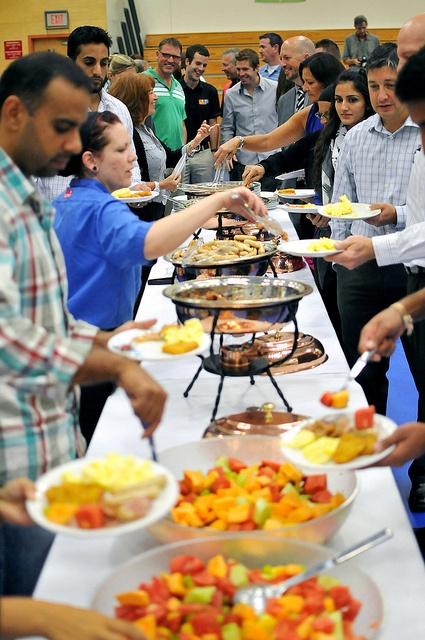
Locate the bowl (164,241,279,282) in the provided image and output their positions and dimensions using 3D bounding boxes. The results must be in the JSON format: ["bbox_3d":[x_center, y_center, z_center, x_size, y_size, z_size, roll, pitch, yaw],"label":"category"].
[{"bbox_3d":[0.056,-0.203,1.846,0.371,0.127,0.366,-6,16,2],"label":"bowl"}]

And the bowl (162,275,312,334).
[{"bbox_3d":[0.066,-0.012,1.325,0.384,0.090,0.397,0,-2,0],"label":"bowl"}]

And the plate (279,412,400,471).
[{"bbox_3d":[0.219,0.204,0.828,0.141,0.028,0.135,-25,17,-24],"label":"plate"}]

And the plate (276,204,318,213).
[{"bbox_3d":[0.473,-0.599,2.753,0.169,0.023,0.115,3,21,2],"label":"plate"}]

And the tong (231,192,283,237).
[{"bbox_3d":[0.139,-0.357,1.543,0.162,0.096,0.034,-2,-18,19],"label":"tong"}]
